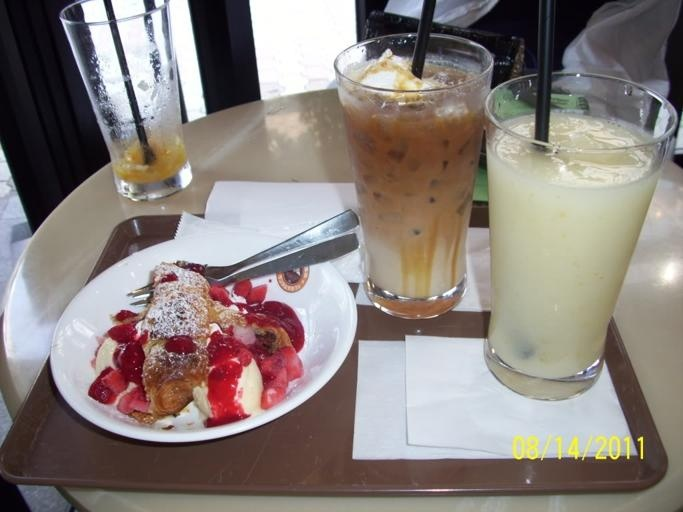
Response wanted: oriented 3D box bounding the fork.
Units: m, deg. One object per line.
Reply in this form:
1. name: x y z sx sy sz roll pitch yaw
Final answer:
1. fork: -0.163 0.006 0.934 0.376 0.033 0.060 -20 68 14
